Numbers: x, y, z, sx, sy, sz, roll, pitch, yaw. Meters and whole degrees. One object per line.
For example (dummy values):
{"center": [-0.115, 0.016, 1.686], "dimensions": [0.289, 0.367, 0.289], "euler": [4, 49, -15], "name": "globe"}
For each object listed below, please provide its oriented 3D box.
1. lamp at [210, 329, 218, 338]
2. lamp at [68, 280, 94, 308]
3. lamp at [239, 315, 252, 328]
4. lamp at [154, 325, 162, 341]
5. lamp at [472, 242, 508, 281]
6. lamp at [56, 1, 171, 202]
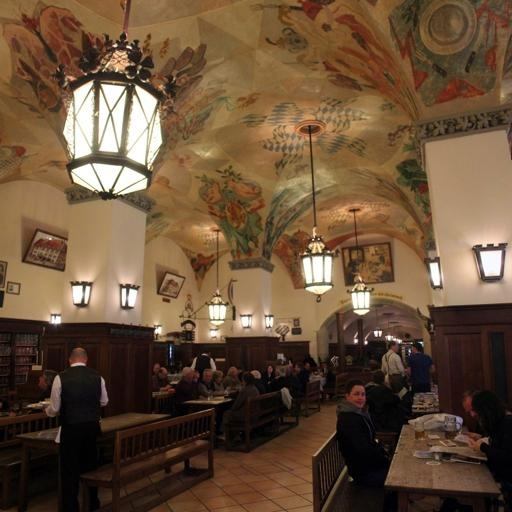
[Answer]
{"center": [-1.935, 3.517, 19.034], "dimensions": [0.412, 0.444, 0.382], "euler": [0, -15, 5], "name": "lamp"}
{"center": [-3.101, 0.665, 7.322], "dimensions": [0.392, 0.463, 0.211], "euler": [-6, -14, 24], "name": "lamp"}
{"center": [-0.336, 2.026, 12.878], "dimensions": [0.398, 0.441, 0.365], "euler": [3, -15, -7], "name": "lamp"}
{"center": [-3.906, 3.017, 16.581], "dimensions": [0.256, 0.591, 0.959], "euler": [2, -13, -11], "name": "lamp"}
{"center": [2.779, 0.098, 5.147], "dimensions": [0.465, 0.526, 0.413], "euler": [-1, -18, 9], "name": "lamp"}
{"center": [-0.813, -0.828, 2.384], "dimensions": [0.668, 0.988, 0.371], "euler": [3, -13, -14], "name": "lamp"}
